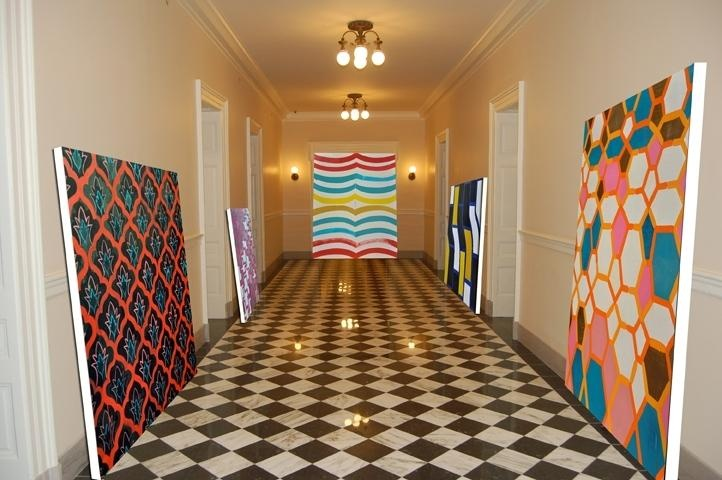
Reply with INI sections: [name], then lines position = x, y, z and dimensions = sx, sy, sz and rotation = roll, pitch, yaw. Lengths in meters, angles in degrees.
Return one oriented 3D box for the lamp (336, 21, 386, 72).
[lamp]
position = -0.009, -2.556, 6.261
dimensions = 0.510, 0.619, 0.511
rotation = 8, 13, 43
